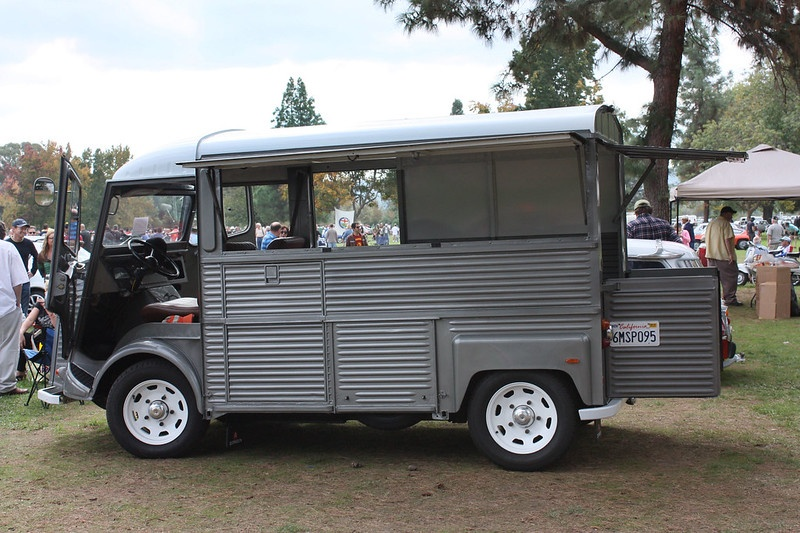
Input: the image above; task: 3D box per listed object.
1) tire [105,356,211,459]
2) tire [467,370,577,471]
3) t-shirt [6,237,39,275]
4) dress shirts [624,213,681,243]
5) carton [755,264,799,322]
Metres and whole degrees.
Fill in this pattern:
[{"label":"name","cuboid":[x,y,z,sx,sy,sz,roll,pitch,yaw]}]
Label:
[{"label":"tire","cuboid":[-2.780,1.617,9.941,1.098,1.106,0.398,6,1,9]},{"label":"tire","cuboid":[1.309,1.621,9.276,1.108,1.116,0.396,0,-3,9]},{"label":"t-shirt","cuboid":[-6.232,-0.176,14.174,0.669,0.596,0.213,10,0,-32]},{"label":"dress shirts","cuboid":[4.160,-0.654,14.379,0.888,0.472,0.334,4,13,17]},{"label":"carton","cuboid":[7.099,0.478,16.408,0.668,1.025,0.915,4,12,27]}]
